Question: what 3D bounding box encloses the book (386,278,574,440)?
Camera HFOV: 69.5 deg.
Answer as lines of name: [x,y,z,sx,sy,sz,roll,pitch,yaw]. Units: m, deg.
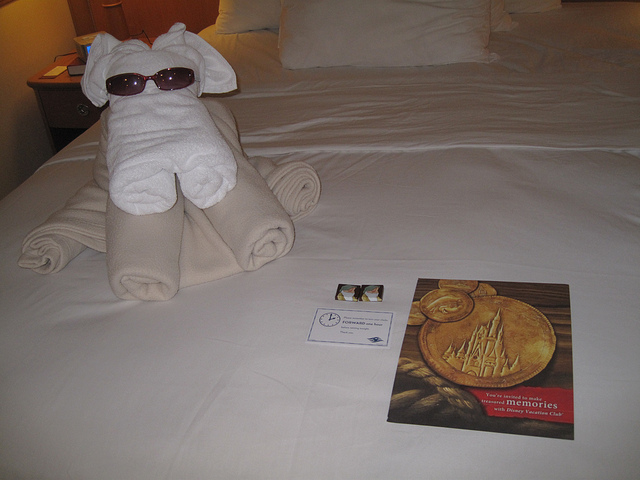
book: [0.277,0.211,0.786,0.349,0.043,0.355,3,31,8]
